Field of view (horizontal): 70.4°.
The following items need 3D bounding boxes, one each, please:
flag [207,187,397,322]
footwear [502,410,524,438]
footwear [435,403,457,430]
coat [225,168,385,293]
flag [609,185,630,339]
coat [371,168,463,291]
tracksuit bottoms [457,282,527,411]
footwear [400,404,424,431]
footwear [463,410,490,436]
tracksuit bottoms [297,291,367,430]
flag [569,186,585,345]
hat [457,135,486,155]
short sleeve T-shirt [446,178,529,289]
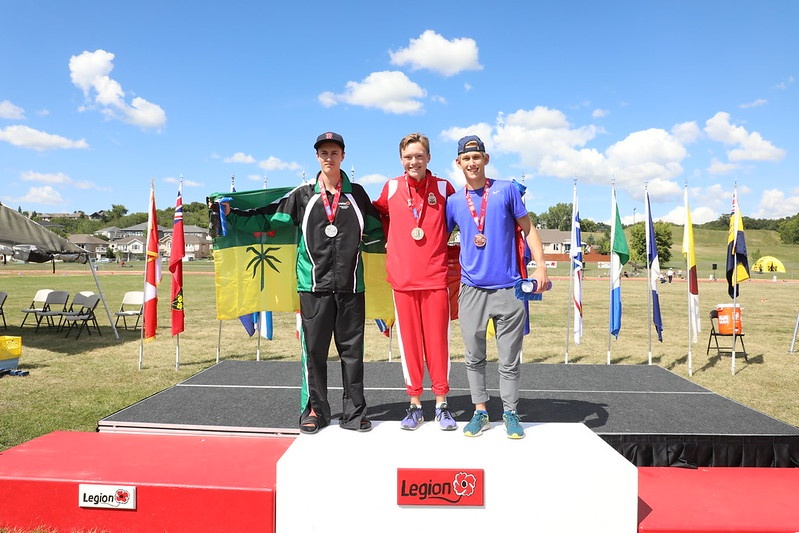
[{"bbox_3d":[-1.216,-0.200,7.383,1.919,1.367,0.205,-1,3,7],"label":"flag"},{"bbox_3d":[1.296,1.750,6.327,0.221,0.264,0.267,-1,5,9],"label":"footwear"},{"bbox_3d":[0.544,1.702,6.535,0.239,0.273,0.344,-2,5,0],"label":"footwear"},{"bbox_3d":[-1.141,-0.407,7.154,1.761,1.014,0.371,0,-2,-5],"label":"coat"},{"bbox_3d":[4.307,-0.039,11.006,0.293,2.867,0.828,0,4,22],"label":"flag"},{"bbox_3d":[0.220,-0.425,6.899,1.094,1.494,0.607,-1,9,-1],"label":"coat"},{"bbox_3d":[1.101,0.935,6.719,0.784,1.705,0.489,1,4,15],"label":"tracksuit bottoms"},{"bbox_3d":[0.153,1.715,6.473,0.188,0.238,0.297,2,6,35],"label":"footwear"},{"bbox_3d":[0.892,1.752,6.365,0.153,0.223,0.393,2,6,42],"label":"footwear"},{"bbox_3d":[-0.775,1.069,6.620,0.768,1.541,0.588,-2,4,-4],"label":"tracksuit bottoms"},{"bbox_3d":[3.546,-0.062,11.258,0.372,3.538,0.359,1,-6,25],"label":"flag"},{"bbox_3d":[0.839,-1.412,6.494,0.273,0.202,0.315,-1,5,5],"label":"hat"},{"bbox_3d":[1.061,-0.366,6.801,0.993,1.355,0.514,-10,-12,25],"label":"short sleeve T-shirt"}]
